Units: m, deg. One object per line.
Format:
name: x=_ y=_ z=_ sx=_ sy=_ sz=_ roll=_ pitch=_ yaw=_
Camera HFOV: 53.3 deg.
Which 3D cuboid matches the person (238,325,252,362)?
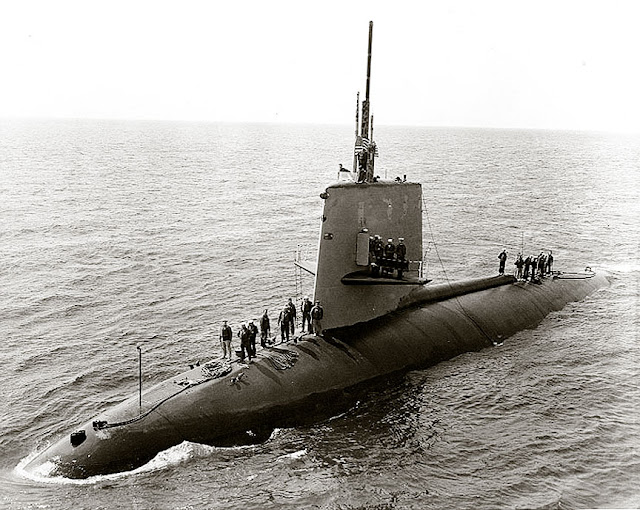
person: x=-1.986 y=2.357 z=17.127 sx=0.337 sy=1.019 sz=0.608 roll=-1 pitch=16 yaw=-7
